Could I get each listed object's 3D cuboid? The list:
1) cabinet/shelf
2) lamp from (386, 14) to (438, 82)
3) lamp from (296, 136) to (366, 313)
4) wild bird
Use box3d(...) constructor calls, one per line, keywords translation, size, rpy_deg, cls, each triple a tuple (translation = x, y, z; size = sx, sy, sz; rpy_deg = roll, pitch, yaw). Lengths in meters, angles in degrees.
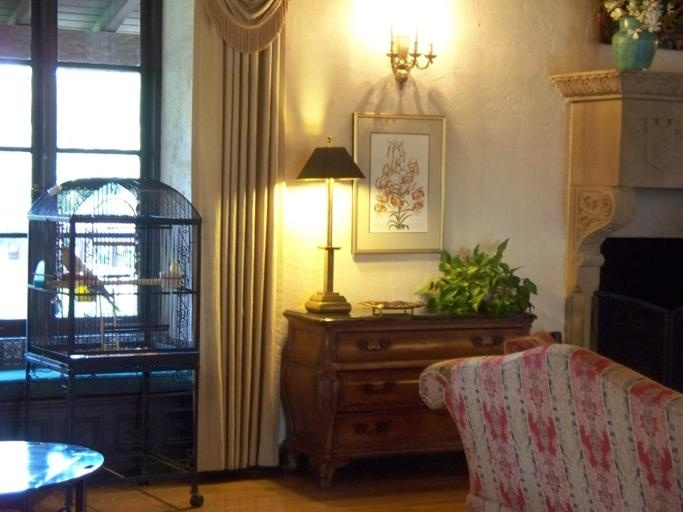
box3d(translation=(0.470, 0.955, 4.877), size=(1.623, 1.156, 0.805), rpy_deg=(2, -1, -24), cls="cabinet/shelf")
box3d(translation=(0.487, -1.428, 4.808), size=(0.326, 0.361, 0.263), rpy_deg=(-1, 5, -13), cls="lamp")
box3d(translation=(-0.066, -0.216, 4.600), size=(0.435, 1.196, 0.480), rpy_deg=(-2, 5, -4), cls="lamp")
box3d(translation=(-1.478, 0.148, 3.976), size=(0.339, 0.431, 0.375), rpy_deg=(-5, 6, -31), cls="wild bird")
